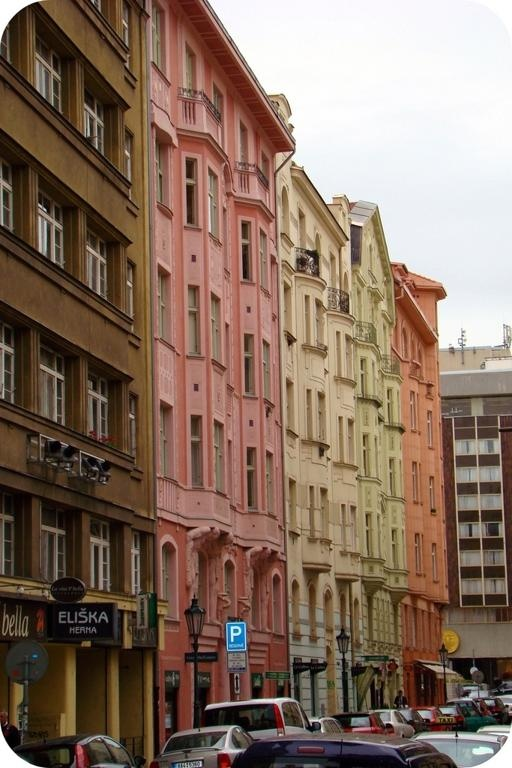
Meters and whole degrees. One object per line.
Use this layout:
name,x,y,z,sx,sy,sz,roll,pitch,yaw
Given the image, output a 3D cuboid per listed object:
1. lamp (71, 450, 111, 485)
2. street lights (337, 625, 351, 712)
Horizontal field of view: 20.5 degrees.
lamp,-3.323,1.642,27.938,0.319,0.621,1.336,-7,-17,19
street lights,3.223,10.538,51.660,0.491,3.122,0.597,-1,-11,-1
